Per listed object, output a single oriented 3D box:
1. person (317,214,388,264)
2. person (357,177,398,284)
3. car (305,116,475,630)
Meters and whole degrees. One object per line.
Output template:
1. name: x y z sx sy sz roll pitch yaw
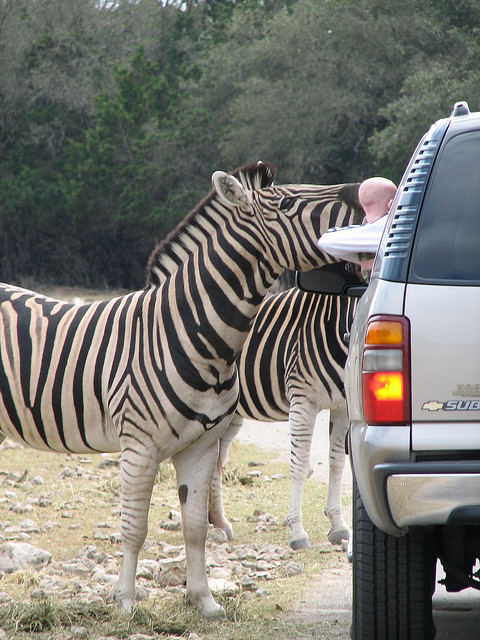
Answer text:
1. person: 1.128 -0.816 15.345 0.773 0.465 0.495 -8 7 -20
2. person: 1.307 -1.045 15.700 0.265 1.364 0.607 3 -7 5
3. car: 1.463 0.479 15.131 1.136 4.655 2.157 -3 13 -14
